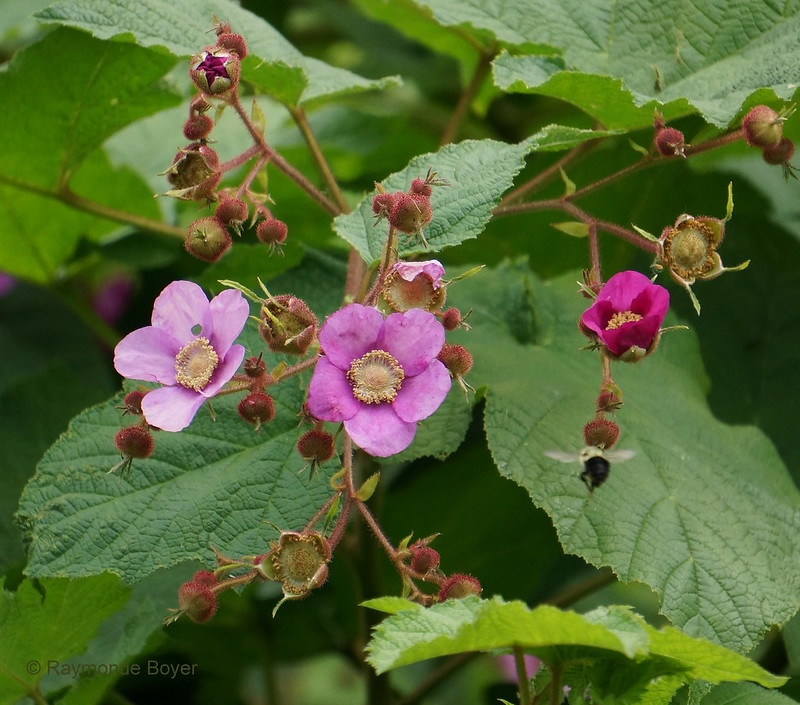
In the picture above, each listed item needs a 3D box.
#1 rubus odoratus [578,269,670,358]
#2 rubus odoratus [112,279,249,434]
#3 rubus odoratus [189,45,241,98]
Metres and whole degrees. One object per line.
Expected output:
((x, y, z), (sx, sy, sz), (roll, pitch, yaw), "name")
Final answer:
((0.386, -0.063, 1.660), (0.151, 0.078, 0.149), (-4, 75, 12), "rubus odoratus")
((-0.359, -0.005, 1.605), (0.216, 0.144, 0.240), (30, 56, 10), "rubus odoratus")
((-0.310, -0.478, 1.698), (0.077, 0.088, 0.076), (-21, 96, -2), "rubus odoratus")
